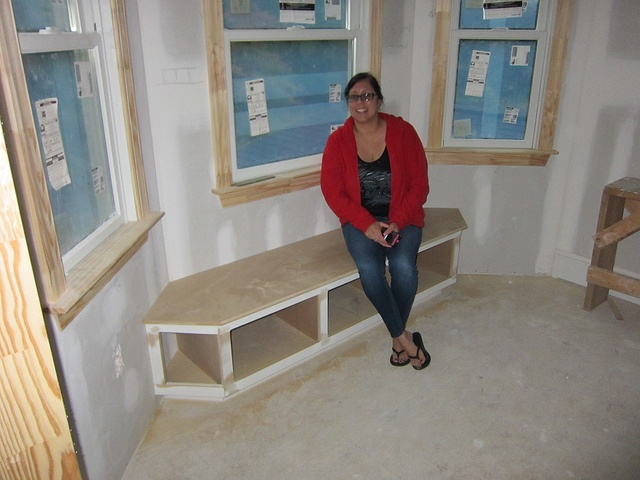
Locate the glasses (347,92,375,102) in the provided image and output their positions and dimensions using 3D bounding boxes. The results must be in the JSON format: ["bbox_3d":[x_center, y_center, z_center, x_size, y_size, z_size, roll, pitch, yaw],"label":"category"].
[{"bbox_3d":[0.245,-0.829,2.755,0.166,0.059,0.046,-1,25,0],"label":"glasses"}]

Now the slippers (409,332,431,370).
[{"bbox_3d":[0.583,0.640,2.753,0.090,0.237,0.055,-24,-24,25],"label":"slippers"}]
